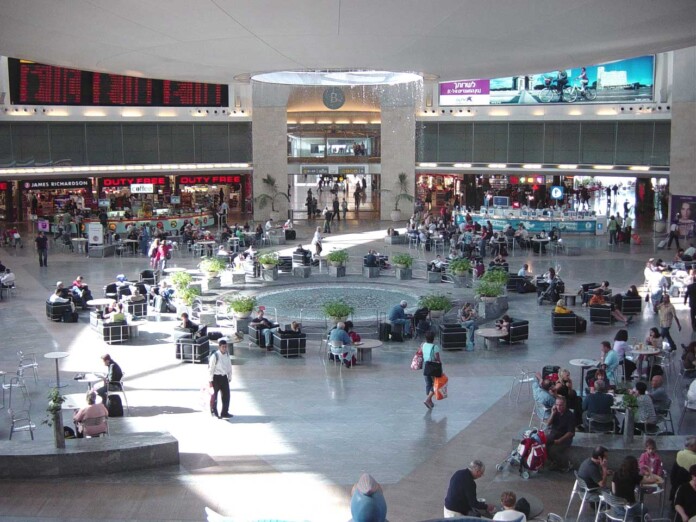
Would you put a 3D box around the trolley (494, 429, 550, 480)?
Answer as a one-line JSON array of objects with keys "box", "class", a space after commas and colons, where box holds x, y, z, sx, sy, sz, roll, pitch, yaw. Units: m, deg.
[{"box": [3.127, 3.218, 11.338, 0.873, 0.737, 0.916, 0, 4, -20], "class": "trolley"}]

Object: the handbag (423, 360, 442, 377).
[{"box": [1.780, 2.256, 13.717, 0.348, 0.293, 0.144, 1, -1, 8], "class": "handbag"}]

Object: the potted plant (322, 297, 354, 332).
[{"box": [-0.241, 1.635, 18.609, 0.821, 0.978, 0.932, -3, 13, -14], "class": "potted plant"}]

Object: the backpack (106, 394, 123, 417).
[{"box": [-4.542, 2.832, 12.923, 0.279, 0.434, 0.446, 0, -2, -16], "class": "backpack"}]
